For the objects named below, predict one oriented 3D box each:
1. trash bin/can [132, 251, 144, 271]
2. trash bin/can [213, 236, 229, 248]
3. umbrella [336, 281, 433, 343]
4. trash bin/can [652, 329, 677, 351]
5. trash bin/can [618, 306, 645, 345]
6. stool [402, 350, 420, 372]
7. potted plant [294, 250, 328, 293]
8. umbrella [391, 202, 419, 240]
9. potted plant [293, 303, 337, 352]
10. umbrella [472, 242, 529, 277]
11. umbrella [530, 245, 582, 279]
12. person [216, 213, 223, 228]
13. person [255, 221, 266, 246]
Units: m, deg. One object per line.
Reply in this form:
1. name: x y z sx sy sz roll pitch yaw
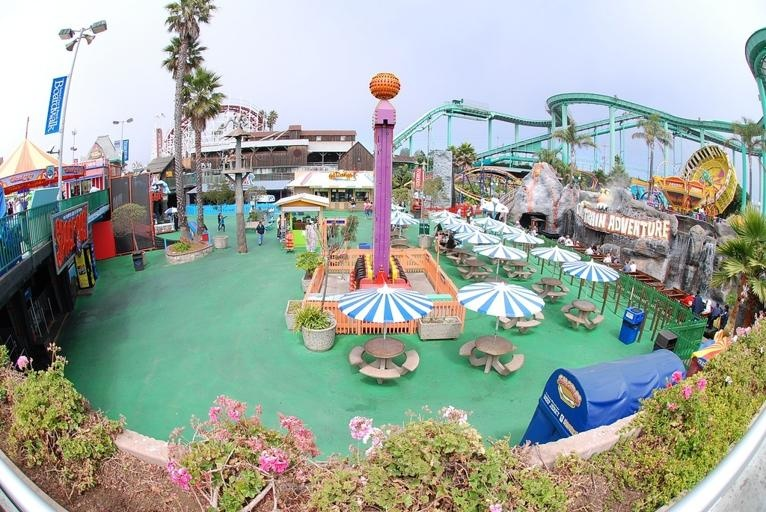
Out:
1. trash bin/can: -13.041 0.273 24.416 0.426 0.943 0.688 -5 10 -23
2. trash bin/can: -10.713 -0.948 30.061 0.777 0.594 0.776 -2 3 -28
3. umbrella: 0.058 1.788 14.087 2.737 1.681 1.458 -1 9 3
4. trash bin/can: 9.265 2.818 15.139 0.804 0.707 0.514 -7 11 -33
5. trash bin/can: 9.046 2.514 16.640 0.754 1.327 0.433 -2 9 -7
6. stool: 0.906 3.362 14.716 0.443 0.251 1.044 -6 24 14
7. potted plant: -3.194 0.770 20.123 1.854 2.296 1.687 0 6 -8
8. umbrella: 1.234 -2.031 29.227 2.293 1.315 2.576 6 34 5
9. potted plant: -2.337 2.473 16.231 1.461 1.363 1.456 0 3 -40
10. umbrella: 5.205 0.438 20.218 1.798 1.374 1.848 0 11 -26
11. umbrella: 7.655 0.474 19.809 1.442 0.731 1.424 -4 24 -17
12. person: -13.053 -2.782 36.742 0.210 1.356 0.726 -8 11 -35
13. person: -8.353 -1.601 31.120 0.471 1.530 1.977 -4 9 -15
